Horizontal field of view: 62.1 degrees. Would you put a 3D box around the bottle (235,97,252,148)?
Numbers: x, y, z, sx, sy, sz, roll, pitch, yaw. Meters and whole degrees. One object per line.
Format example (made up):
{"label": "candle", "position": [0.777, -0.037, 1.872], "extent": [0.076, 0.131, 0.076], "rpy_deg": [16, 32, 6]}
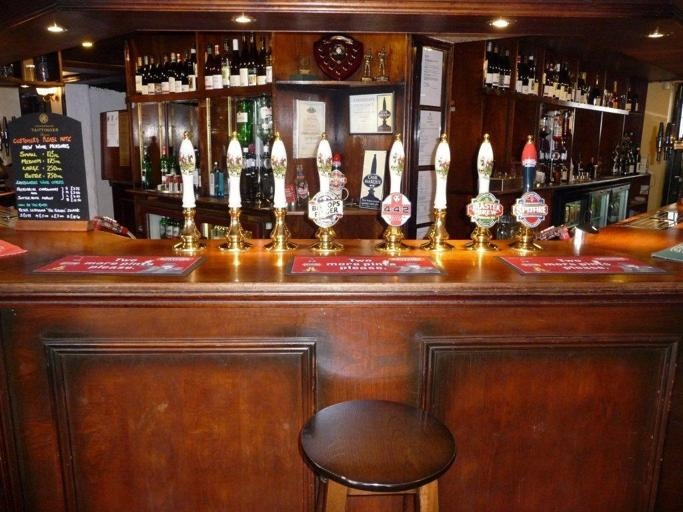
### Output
{"label": "bottle", "position": [-0.766, -1.007, 4.322], "extent": [0.084, 0.363, 0.228], "rpy_deg": [-7, 11, -37]}

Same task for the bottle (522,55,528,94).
{"label": "bottle", "position": [1.703, -1.687, 5.247], "extent": [0.065, 0.360, 0.319], "rpy_deg": [3, 9, 17]}

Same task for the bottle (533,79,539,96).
{"label": "bottle", "position": [1.809, -1.566, 5.266], "extent": [0.045, 0.146, 0.131], "rpy_deg": [3, 9, 21]}

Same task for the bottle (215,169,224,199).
{"label": "bottle", "position": [-0.978, -0.580, 4.517], "extent": [0.074, 0.211, 0.138], "rpy_deg": [1, 9, 9]}

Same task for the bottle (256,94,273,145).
{"label": "bottle", "position": [-0.572, -0.999, 4.168], "extent": [0.194, 0.345, 0.059], "rpy_deg": [8, 12, 43]}

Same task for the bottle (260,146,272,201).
{"label": "bottle", "position": [-0.550, -0.592, 4.090], "extent": [0.097, 0.444, 0.248], "rpy_deg": [-1, 9, -8]}

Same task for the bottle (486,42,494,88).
{"label": "bottle", "position": [1.269, -1.655, 4.871], "extent": [0.073, 0.378, 0.278], "rpy_deg": [2, 9, 14]}

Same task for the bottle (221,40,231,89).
{"label": "bottle", "position": [-0.873, -1.437, 4.266], "extent": [0.069, 0.359, 0.235], "rpy_deg": [-2, 9, -11]}

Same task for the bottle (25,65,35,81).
{"label": "bottle", "position": [-2.687, -1.585, 4.878], "extent": [0.045, 0.137, 0.122], "rpy_deg": [2, 8, 11]}

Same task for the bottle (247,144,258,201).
{"label": "bottle", "position": [-0.669, -0.614, 4.175], "extent": [0.089, 0.409, 0.074], "rpy_deg": [-2, 9, -9]}

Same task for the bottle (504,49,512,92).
{"label": "bottle", "position": [1.461, -1.653, 4.993], "extent": [0.073, 0.344, 0.161], "rpy_deg": [2, 9, 14]}

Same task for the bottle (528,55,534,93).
{"label": "bottle", "position": [1.772, -1.696, 5.277], "extent": [0.056, 0.384, 0.282], "rpy_deg": [3, 9, 17]}

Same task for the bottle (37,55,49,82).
{"label": "bottle", "position": [-2.628, -1.644, 4.953], "extent": [0.093, 0.202, 0.047], "rpy_deg": [-6, 11, -35]}
